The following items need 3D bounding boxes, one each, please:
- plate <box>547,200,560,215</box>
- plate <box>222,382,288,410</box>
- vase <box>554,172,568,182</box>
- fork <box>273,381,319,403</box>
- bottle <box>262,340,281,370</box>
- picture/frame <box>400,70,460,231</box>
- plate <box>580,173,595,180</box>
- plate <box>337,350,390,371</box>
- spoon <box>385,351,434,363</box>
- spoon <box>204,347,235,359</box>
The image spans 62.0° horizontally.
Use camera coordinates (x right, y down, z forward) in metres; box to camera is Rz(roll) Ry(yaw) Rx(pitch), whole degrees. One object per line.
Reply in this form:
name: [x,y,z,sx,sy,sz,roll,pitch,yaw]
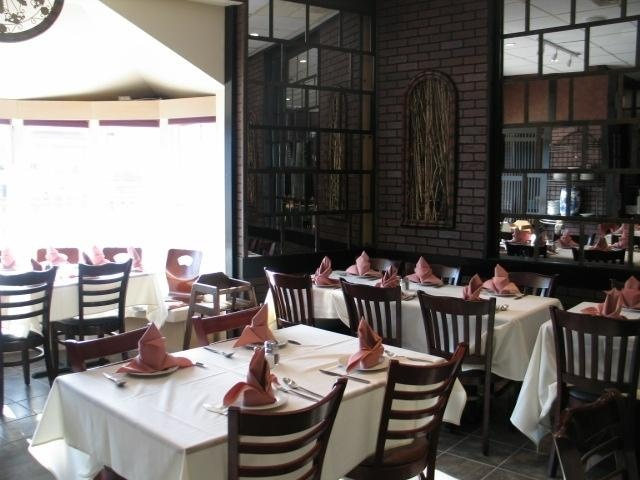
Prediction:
plate: [2.144,-0.296,4.945,0.026,0.114,0.109,-4,10,-38]
plate: [-0.277,0.657,2.272,0.261,0.110,0.126,-5,7,-29]
vase: [2.186,-0.575,4.886,0.072,0.053,0.073,1,-4,-26]
fork: [-0.113,0.684,2.394,0.193,0.029,0.029,11,19,43]
bottle: [-0.240,0.567,2.641,0.078,0.150,0.146,-1,0,-9]
picture/frame: [1.114,-0.929,5.510,0.603,1.586,0.051,4,7,39]
plate: [2.373,-0.561,4.772,0.069,0.042,0.069,0,-1,-31]
plate: [0.222,0.621,2.725,0.265,0.033,0.223,-1,6,4]
spoon: [0.456,0.611,2.795,0.252,0.040,0.115,0,6,12]
spoon: [-0.530,0.594,2.833,0.226,0.021,0.064,3,7,38]
